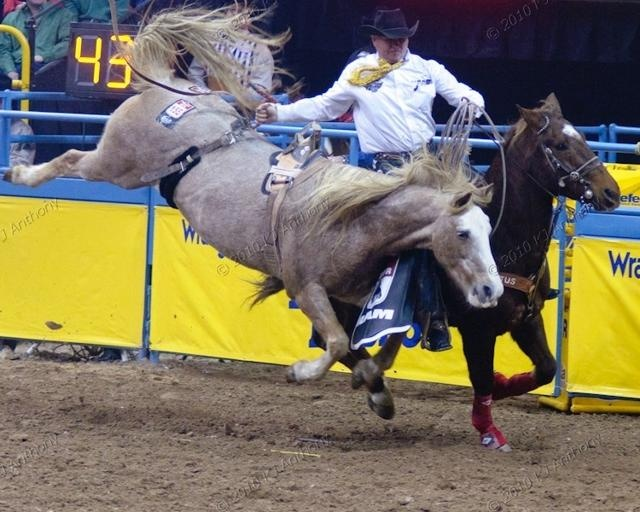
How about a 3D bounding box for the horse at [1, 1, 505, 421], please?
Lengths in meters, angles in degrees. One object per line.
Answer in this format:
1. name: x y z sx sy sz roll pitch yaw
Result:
1. horse: -0.216 -0.482 6.756 2.977 2.466 0.998 9 13 37
